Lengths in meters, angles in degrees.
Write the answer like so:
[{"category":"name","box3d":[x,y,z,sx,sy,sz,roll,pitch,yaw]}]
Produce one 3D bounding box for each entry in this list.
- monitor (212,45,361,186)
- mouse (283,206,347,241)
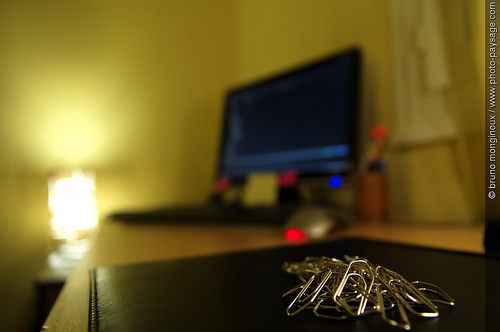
[{"category":"monitor","box3d":[0.066,-0.078,0.854,0.375,0.272,0.036,-5,-10,41]},{"category":"mouse","box3d":[0.143,0.131,0.922,0.105,0.036,0.076,4,-4,-41]}]
